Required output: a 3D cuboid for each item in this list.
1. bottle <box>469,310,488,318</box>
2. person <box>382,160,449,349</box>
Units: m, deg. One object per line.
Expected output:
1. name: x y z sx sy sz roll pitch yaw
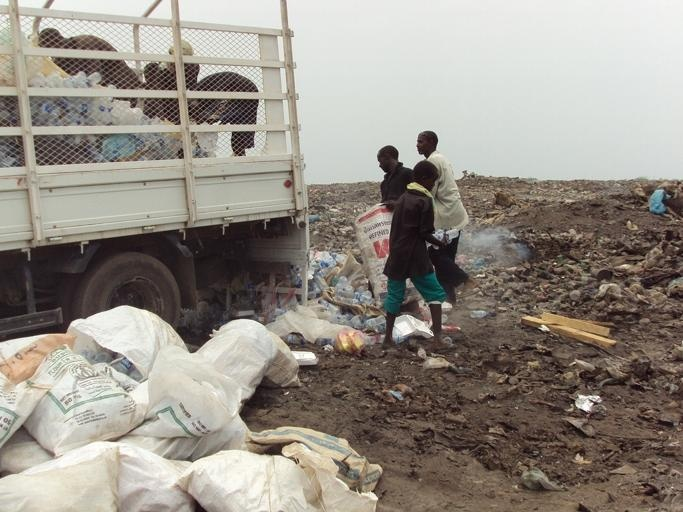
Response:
1. bottle: 1.733 0.730 6.290 0.219 0.065 0.215 0 8 0
2. person: 0.810 -0.054 5.514 0.672 2.016 0.533 0 9 5
